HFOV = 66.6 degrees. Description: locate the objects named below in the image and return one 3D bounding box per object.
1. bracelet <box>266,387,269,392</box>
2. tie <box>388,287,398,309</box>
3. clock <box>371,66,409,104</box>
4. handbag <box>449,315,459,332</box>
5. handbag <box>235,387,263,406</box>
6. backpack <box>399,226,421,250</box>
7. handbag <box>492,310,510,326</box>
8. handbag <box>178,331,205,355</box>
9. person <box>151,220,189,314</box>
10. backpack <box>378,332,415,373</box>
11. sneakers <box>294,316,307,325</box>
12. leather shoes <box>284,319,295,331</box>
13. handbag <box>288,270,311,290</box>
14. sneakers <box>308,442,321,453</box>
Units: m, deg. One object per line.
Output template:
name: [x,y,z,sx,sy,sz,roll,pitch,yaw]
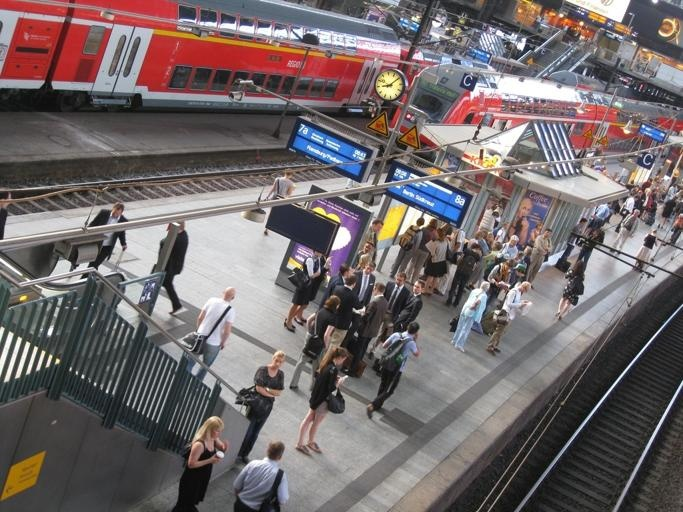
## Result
bracelet: [-1.083,1.963,7.635,0.058,0.052,0.013,3,-9,-32]
tie: [1.186,0.980,12.025,0.197,0.464,0.093,21,13,8]
clock: [1.487,-5.012,15.127,0.593,0.947,0.975,5,18,-46]
handbag: [3.067,1.865,14.192,0.336,0.420,0.411,12,-6,2]
handbag: [-1.399,2.133,7.705,0.262,0.112,0.321,14,24,15]
backpack: [2.074,-0.551,15.503,0.478,0.778,0.416,32,-7,21]
handbag: [4.300,1.638,14.037,0.340,0.378,0.404,6,8,6]
handbag: [-2.420,1.441,8.482,0.333,0.392,0.308,16,13,-10]
person: [-3.409,0.214,10.659,0.426,2.077,0.704,30,17,37]
backpack: [1.116,1.887,10.112,0.576,0.842,0.392,21,13,7]
sneakers: [-0.965,1.522,12.475,0.270,0.154,0.426,16,12,-3]
leather shoes: [-1.218,1.615,12.016,0.314,0.121,0.174,15,12,35]
handbag: [-0.899,0.499,11.857,0.516,0.429,0.361,-7,4,14]
sneakers: [-0.436,3.195,8.636,0.274,0.106,0.109,10,10,44]
